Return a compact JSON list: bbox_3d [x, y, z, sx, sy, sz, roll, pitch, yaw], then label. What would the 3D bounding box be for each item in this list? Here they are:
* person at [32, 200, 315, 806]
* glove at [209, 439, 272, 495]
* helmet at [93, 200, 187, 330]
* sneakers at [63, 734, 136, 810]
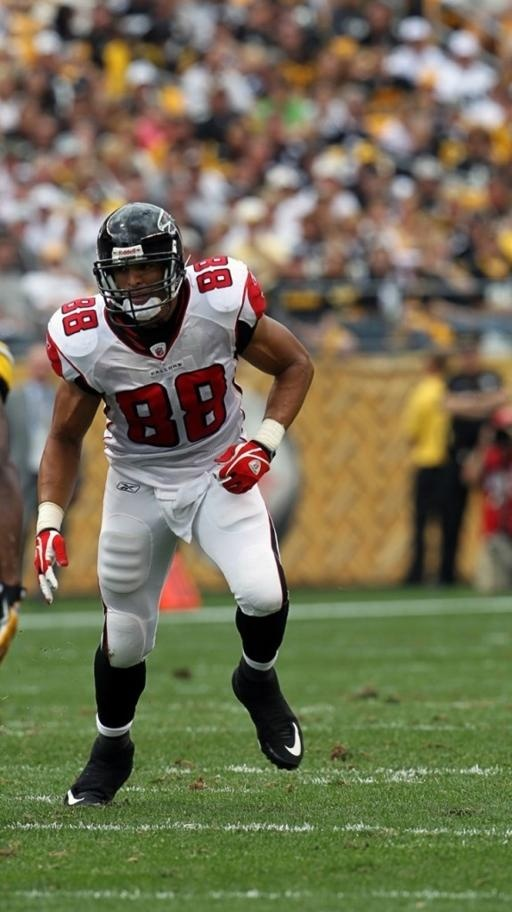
[{"bbox_3d":[-0.209,0.191,2.324,0.678,1.571,0.628,1,18,3],"label":"person"},{"bbox_3d":[-0.031,0.027,2.254,0.116,0.063,0.139,37,69,20],"label":"glove"},{"bbox_3d":[-0.265,-0.450,2.166,0.232,0.249,0.295,-3,23,9],"label":"helmet"},{"bbox_3d":[-0.367,0.778,2.333,0.086,0.206,0.212,31,21,-15],"label":"sneakers"}]
